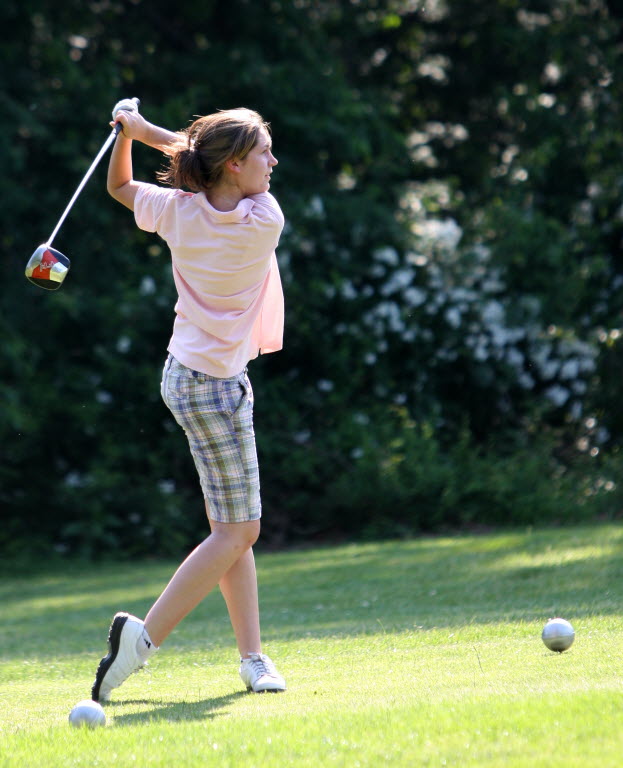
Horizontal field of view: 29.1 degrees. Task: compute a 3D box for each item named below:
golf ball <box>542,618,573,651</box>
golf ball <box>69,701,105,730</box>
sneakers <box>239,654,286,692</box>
[{"bbox_3d":[0.639,0.650,3.145,0.087,0.080,0.075,-2,18,-6],"label":"golf ball"},{"bbox_3d":[-0.519,0.756,2.730,0.060,0.049,0.065,-13,-13,-3],"label":"golf ball"},{"bbox_3d":[-0.123,0.725,2.995,0.098,0.093,0.123,-8,1,-10],"label":"sneakers"}]
